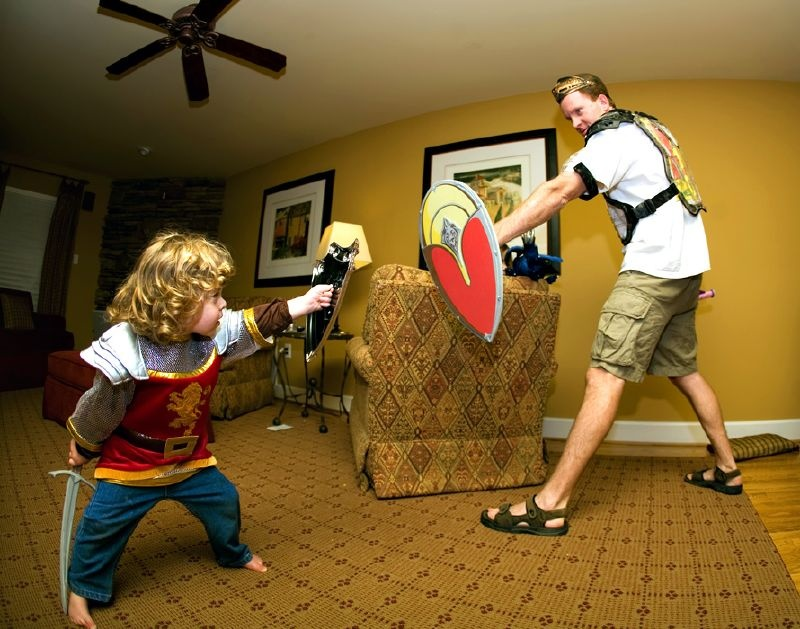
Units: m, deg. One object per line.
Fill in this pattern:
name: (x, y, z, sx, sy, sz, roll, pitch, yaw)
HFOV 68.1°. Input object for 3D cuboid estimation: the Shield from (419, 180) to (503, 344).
Shield: (0.257, -0.245, 2.610, 0.188, 0.684, 0.533, -3, 10, -20)

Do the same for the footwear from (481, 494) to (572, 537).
footwear: (0.554, 0.878, 2.639, 0.308, 0.135, 0.160, 2, -7, 13)

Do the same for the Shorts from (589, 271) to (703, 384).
Shorts: (1.176, 0.012, 2.721, 0.583, 0.606, 0.291, 0, 13, -30)

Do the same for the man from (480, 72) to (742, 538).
man: (0.981, -0.128, 2.840, 1.428, 2.066, 0.761, 0, -1, -28)

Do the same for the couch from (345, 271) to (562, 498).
couch: (0.277, 0.304, 3.453, 1.035, 1.303, 1.073, 0, -1, -15)

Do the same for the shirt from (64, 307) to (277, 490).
shirt: (-0.973, 0.388, 2.552, 0.769, 0.802, 0.368, 2, 16, -21)

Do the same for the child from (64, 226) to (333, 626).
child: (-0.814, 0.382, 2.204, 0.811, 1.344, 0.328, -6, 11, -33)

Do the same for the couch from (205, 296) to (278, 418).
couch: (-1.401, 0.291, 4.895, 0.704, 0.851, 0.789, 4, 6, -18)

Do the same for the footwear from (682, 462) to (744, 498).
footwear: (1.585, 0.844, 3.043, 0.109, 0.129, 0.271, 1, 2, -37)
